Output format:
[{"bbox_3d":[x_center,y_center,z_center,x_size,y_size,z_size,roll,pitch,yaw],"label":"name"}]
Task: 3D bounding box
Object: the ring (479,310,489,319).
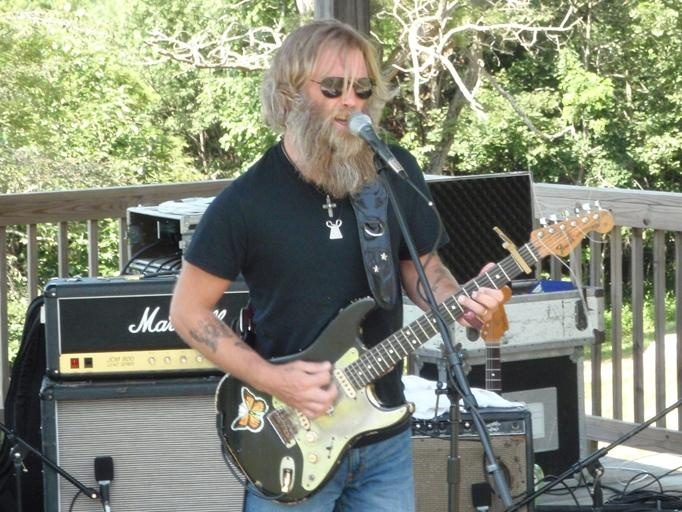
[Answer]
[{"bbox_3d":[0.830,0.336,7.418,0.053,0.050,0.015,-24,66,-44],"label":"ring"}]
